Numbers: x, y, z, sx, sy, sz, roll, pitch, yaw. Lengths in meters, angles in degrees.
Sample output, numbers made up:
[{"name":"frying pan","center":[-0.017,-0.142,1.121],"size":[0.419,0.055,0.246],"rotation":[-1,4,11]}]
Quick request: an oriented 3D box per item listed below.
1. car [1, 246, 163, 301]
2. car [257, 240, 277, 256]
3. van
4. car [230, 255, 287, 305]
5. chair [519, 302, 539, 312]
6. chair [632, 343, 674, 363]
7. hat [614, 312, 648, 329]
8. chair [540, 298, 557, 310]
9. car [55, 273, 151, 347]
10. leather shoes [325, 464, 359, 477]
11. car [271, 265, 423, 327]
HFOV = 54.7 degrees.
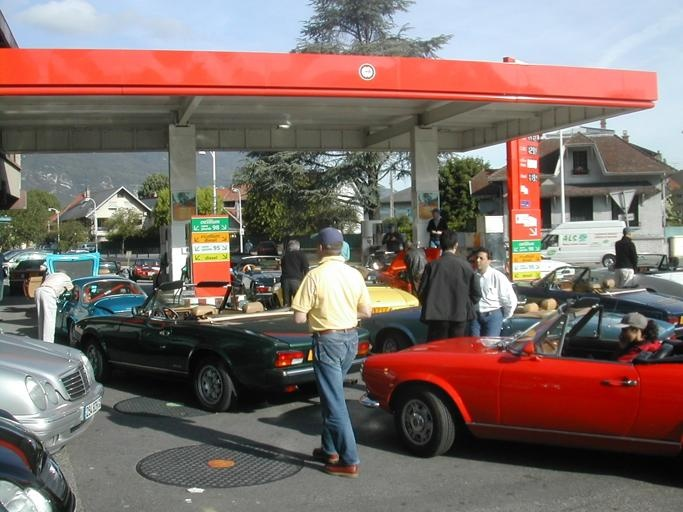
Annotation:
[{"name":"car","center":[-9.508,0.565,23.888],"size":[4.156,1.419,2.467],"rotation":[3,5,43]},{"name":"car","center":[-6.115,-0.574,54.587],"size":[1.600,1.312,3.403],"rotation":[-1,7,-11]},{"name":"van","center":[12.830,-0.518,35.532],"size":[5.016,2.420,2.454],"rotation":[-1,-3,34]},{"name":"car","center":[-2.444,0.636,18.776],"size":[1.483,0.945,3.178],"rotation":[0,8,-21]},{"name":"chair","center":[2.595,0.741,9.277],"size":[0.191,0.146,0.151],"rotation":[0,-14,-34]},{"name":"chair","center":[2.904,0.932,6.137],"size":[0.235,0.199,0.243],"rotation":[-2,-2,7]},{"name":"hat","center":[3.036,0.676,6.862],"size":[0.238,0.129,0.157],"rotation":[3,-6,12]},{"name":"chair","center":[2.883,0.679,9.153],"size":[0.216,0.177,0.166],"rotation":[-2,3,-32]},{"name":"car","center":[-5.109,0.934,13.908],"size":[1.584,0.924,2.652],"rotation":[-5,7,-40]},{"name":"leather shoes","center":[0.002,2.061,6.414],"size":[0.304,0.128,0.120],"rotation":[1,-6,21]},{"name":"car","center":[-0.063,0.995,13.313],"size":[2.012,1.139,3.406],"rotation":[23,-13,-28]}]
